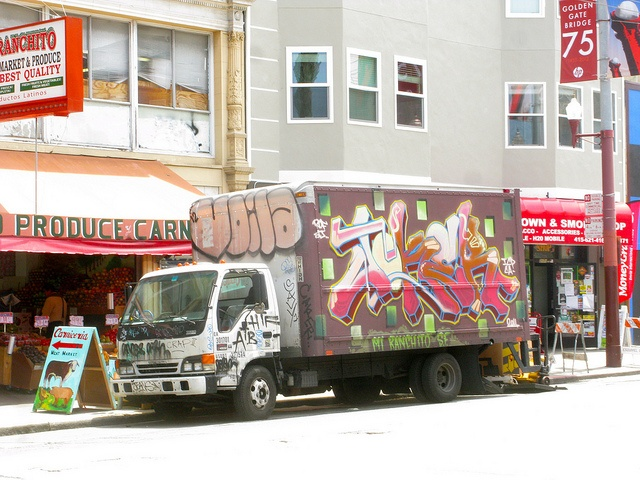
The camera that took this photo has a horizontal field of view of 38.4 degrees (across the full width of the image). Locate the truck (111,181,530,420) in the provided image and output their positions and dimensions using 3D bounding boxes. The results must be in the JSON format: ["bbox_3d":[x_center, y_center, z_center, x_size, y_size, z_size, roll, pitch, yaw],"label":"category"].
[{"bbox_3d":[-0.086,1.208,18.235,7.339,4.589,3.622,4,-8,-36],"label":"truck"}]

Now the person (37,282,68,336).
[{"bbox_3d":[-6.175,1.641,21.564,0.545,1.299,1.139,-1,-5,-16],"label":"person"}]
